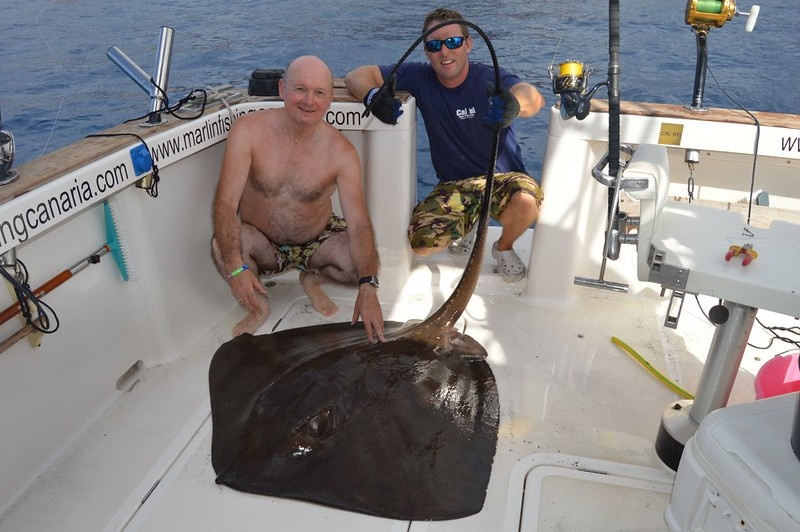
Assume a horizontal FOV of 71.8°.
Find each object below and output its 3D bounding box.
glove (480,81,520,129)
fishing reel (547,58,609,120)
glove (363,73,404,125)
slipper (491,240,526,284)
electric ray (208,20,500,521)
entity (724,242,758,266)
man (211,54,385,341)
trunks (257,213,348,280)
[{"bbox_3d":[0.559,-0.815,2.974,0.178,0.126,0.239,-31,-14,11],"label":"glove"},{"bbox_3d":[0.901,-0.875,2.750,0.282,0.296,0.190,-1,11,16],"label":"fishing reel"},{"bbox_3d":[-0.077,-0.875,2.977,0.197,0.274,0.089,32,19,2],"label":"glove"},{"bbox_3d":[0.675,-0.018,3.420,0.128,0.109,0.258,-25,51,0],"label":"slipper"},{"bbox_3d":[-0.221,0.067,2.882,1.572,1.630,1.569,31,37,26],"label":"electric ray"},{"bbox_3d":[1.330,-0.049,2.139,0.090,0.045,0.108,9,31,39],"label":"entity"},{"bbox_3d":[-0.534,-0.314,2.997,0.896,1.445,0.959,4,26,-9],"label":"man"},{"bbox_3d":[-0.587,-0.077,3.257,0.445,0.368,0.165,-20,29,1],"label":"trunks"}]
